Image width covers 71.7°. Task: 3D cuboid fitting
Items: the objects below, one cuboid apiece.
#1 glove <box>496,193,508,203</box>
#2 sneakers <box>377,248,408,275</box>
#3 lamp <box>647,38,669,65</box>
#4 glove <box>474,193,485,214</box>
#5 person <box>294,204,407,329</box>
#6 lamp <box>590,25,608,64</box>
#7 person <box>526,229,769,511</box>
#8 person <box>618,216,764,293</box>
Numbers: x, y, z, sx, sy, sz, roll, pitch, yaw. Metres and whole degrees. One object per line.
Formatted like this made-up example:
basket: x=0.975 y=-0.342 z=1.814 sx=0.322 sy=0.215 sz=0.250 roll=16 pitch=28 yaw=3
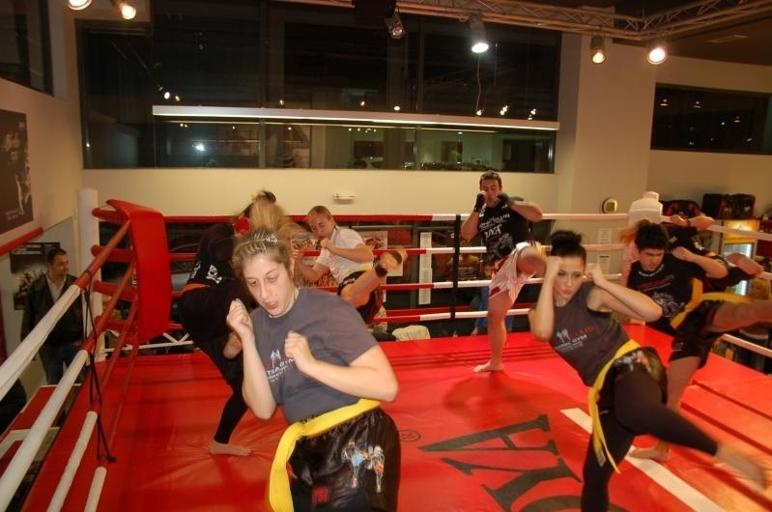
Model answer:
glove: x=1.102 y=-0.525 z=4.997 sx=0.072 sy=0.097 sz=0.048 roll=-13 pitch=-22 yaw=12
sneakers: x=0.056 y=0.064 z=4.474 sx=0.227 sy=0.166 sz=0.378 roll=24 pitch=8 yaw=4
lamp: x=3.723 y=-2.815 z=7.324 sx=0.194 sy=0.282 sz=0.236 roll=7 pitch=13 yaw=32
glove: x=0.915 y=-0.516 z=5.186 sx=0.054 sy=0.173 sz=0.129 roll=6 pitch=5 yaw=11
person: x=-0.291 y=0.254 z=4.739 sx=0.820 sy=1.324 sz=0.587 roll=-16 pitch=-19 yaw=14
lamp: x=3.122 y=-3.060 z=7.847 sx=0.183 sy=0.465 sz=0.810 roll=4 pitch=12 yaw=21
person: x=1.506 y=0.751 z=3.432 sx=0.713 sy=1.722 sz=1.138 roll=-6 pitch=12 yaw=-26
person: x=2.497 y=-0.078 z=4.318 sx=1.037 sy=0.682 sz=0.448 roll=4 pitch=-9 yaw=21
